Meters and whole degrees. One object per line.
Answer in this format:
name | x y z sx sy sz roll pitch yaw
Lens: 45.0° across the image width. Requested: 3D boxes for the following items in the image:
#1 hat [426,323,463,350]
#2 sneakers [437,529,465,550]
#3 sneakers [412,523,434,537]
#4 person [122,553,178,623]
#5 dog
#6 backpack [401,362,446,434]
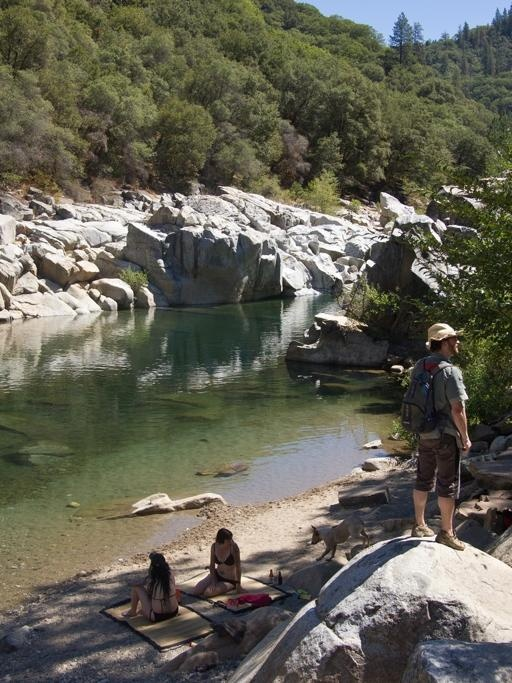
hat | 1.589 -0.016 5.309 0.271 0.112 0.256 -22 2 26
sneakers | 1.367 1.402 4.350 0.202 0.081 0.080 19 19 23
sneakers | 1.249 1.430 4.666 0.194 0.082 0.075 1 14 -41
person | -1.021 2.435 6.211 0.521 0.774 0.290 8 12 28
dog | 0.994 2.364 7.386 0.753 0.429 0.203 -24 -27 22
backpack | 1.347 0.439 5.034 0.325 0.577 0.292 -2 11 -31
